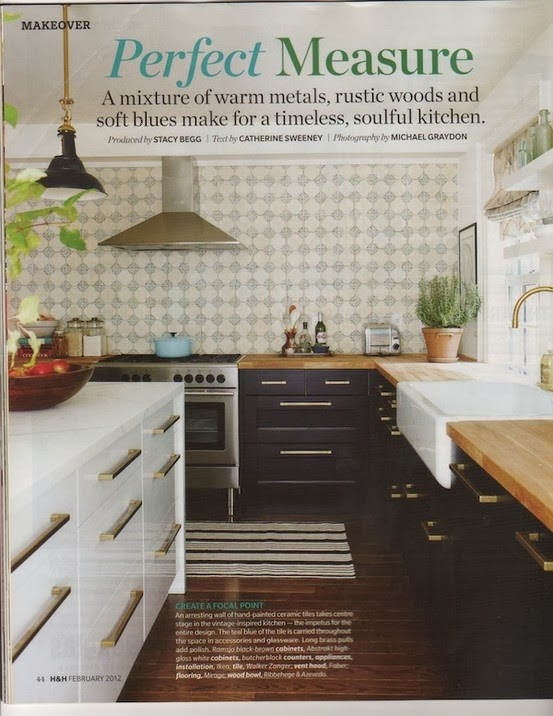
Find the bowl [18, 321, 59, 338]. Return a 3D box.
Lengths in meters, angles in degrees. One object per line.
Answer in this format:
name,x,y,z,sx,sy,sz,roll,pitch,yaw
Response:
bowl,-0.883,-0.106,2.261,0.090,0.039,0.088,0,2,0

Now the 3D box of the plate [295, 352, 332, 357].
plate,0.198,-0.012,3.260,0.198,0.019,0.085,-1,8,-4

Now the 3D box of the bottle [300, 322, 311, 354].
bottle,0.152,-0.089,3.247,0.065,0.153,0.140,0,7,2

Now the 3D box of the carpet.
carpet,-0.040,0.714,2.261,0.603,0.012,0.381,1,12,-4

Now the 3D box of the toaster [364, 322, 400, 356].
toaster,0.512,-0.085,2.944,0.178,0.160,0.165,0,-2,-2

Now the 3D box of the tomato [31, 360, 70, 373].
tomato,-0.589,0.027,1.595,0.062,0.024,0.038,-10,-6,-27

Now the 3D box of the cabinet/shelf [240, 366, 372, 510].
cabinet/shelf,0.152,0.346,2.884,0.661,0.513,0.573,-1,7,-3

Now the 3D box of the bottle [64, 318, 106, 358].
bottle,-0.844,-0.090,2.693,0.160,0.135,0.084,2,9,12

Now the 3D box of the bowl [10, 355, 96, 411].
bowl,-0.588,0.081,1.577,0.174,0.134,0.253,3,8,27

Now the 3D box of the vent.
vent,-0.403,-0.660,2.579,0.648,0.329,0.588,7,20,17

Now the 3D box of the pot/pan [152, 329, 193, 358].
pot/pan,-0.510,-0.067,2.973,0.151,0.096,0.143,0,5,-2

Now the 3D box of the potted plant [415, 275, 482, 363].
potted plant,0.677,-0.123,2.375,0.201,0.271,0.224,0,0,-37

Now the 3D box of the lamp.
lamp,-0.578,-0.701,1.712,0.180,0.442,0.291,-3,8,-20

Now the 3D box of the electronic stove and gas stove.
electronic stove and gas stove,-0.569,0.068,3.120,0.752,0.177,0.206,-1,7,-5

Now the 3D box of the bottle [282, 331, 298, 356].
bottle,0.063,-0.079,3.285,0.074,0.142,0.090,0,7,-1
